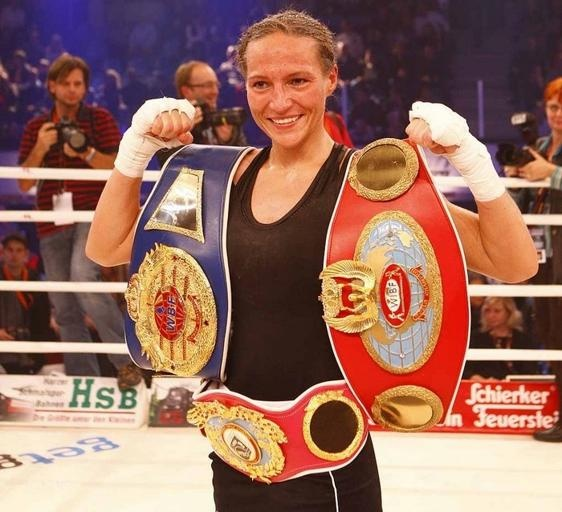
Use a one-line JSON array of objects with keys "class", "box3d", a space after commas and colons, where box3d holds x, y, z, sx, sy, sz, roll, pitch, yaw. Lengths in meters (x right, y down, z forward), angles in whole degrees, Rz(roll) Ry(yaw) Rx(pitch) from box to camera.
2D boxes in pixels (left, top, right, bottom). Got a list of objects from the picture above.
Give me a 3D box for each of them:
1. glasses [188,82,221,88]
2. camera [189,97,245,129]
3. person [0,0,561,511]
[{"class": "glasses", "box3d": [-0.423, -0.938, 3.817, 0.098, 0.021, 0.067, 0, 6, -5]}, {"class": "camera", "box3d": [-0.285, -0.726, 3.581, 0.256, 0.100, 0.153, 2, 1, 40]}, {"class": "person", "box3d": [0.079, -0.038, 2.642, 1.270, 2.237, 0.413, -2, -6, 6]}]
